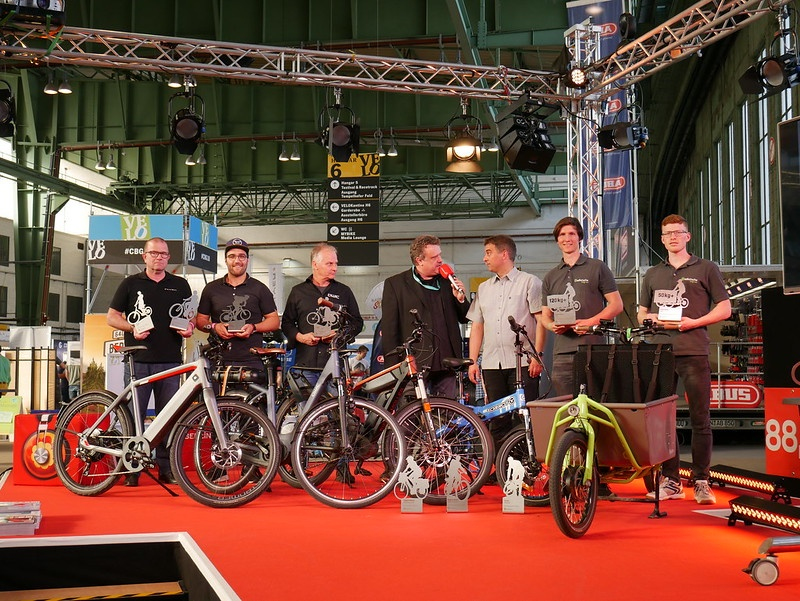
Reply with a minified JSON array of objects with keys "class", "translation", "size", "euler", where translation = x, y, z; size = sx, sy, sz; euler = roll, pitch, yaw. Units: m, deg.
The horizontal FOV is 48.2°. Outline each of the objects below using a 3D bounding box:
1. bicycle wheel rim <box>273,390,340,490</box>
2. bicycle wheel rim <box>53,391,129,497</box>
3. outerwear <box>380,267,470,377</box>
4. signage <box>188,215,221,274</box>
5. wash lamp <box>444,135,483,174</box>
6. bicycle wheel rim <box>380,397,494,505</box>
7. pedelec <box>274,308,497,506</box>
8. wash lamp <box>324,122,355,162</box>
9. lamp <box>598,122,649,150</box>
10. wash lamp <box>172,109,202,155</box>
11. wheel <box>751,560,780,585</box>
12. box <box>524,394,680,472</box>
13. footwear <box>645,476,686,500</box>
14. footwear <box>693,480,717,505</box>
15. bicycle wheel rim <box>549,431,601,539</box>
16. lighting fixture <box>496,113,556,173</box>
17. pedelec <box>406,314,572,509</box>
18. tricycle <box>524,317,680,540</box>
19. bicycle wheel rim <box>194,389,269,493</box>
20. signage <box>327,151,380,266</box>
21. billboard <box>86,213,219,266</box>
[{"class":"bicycle wheel rim","translation":[-0.814,1.135,7.499],"size":[0.668,0.803,0.240],"euler":[2,-13,-15]},{"class":"bicycle wheel rim","translation":[-2.596,1.222,7.565],"size":[0.753,0.726,0.272],"euler":[19,-4,13]},{"class":"outerwear","translation":[0.205,0.196,7.690],"size":[0.835,0.966,0.527],"euler":[7,-20,-22]},{"class":"signage","translation":[-3.187,-0.893,14.583],"size":[0.024,0.806,1.696],"euler":[-1,10,-28]},{"class":"wash lamp","translation":[0.989,-2.052,12.625],"size":[0.552,0.573,0.569],"euler":[1,-3,-21]},{"class":"bicycle wheel rim","translation":[0.359,1.200,7.199],"size":[0.766,0.849,0.429],"euler":[-1,2,10]},{"class":"pedelec","translation":[-0.236,0.947,7.442],"size":[2.055,1.454,1.050],"euler":[-5,-14,33]},{"class":"wash lamp","translation":[-0.783,-2.163,12.124],"size":[0.434,0.527,0.346],"euler":[-2,1,-11]},{"class":"lamp","translation":[2.667,-2.000,10.762],"size":[0.310,0.195,0.535],"euler":[-1,-1,-10]},{"class":"wash lamp","translation":[-2.806,-2.248,11.906],"size":[0.431,0.571,0.243],"euler":[7,15,-7]},{"class":"wheel","translation":[2.221,1.658,5.457],"size":[0.171,0.128,0.067],"euler":[-18,1,-4]},{"class":"box","translation":[1.649,0.953,6.778],"size":[0.864,0.385,0.927],"euler":[-4,-3,15]},{"class":"footwear","translation":[2.183,1.534,7.351],"size":[0.452,0.226,0.156],"euler":[7,-12,-25]},{"class":"footwear","translation":[2.424,1.524,7.131],"size":[0.160,0.169,0.161],"euler":[-1,1,18]},{"class":"bicycle wheel rim","translation":[1.219,1.287,6.285],"size":[0.187,0.576,0.584],"euler":[4,-17,27]},{"class":"lighting fixture","translation":[1.544,-1.940,10.983],"size":[0.576,0.630,0.461],"euler":[-2,2,-32]},{"class":"pedelec","translation":[0.667,0.981,7.285],"size":[1.048,1.349,2.075],"euler":[9,-5,-35]},{"class":"tricycle","translation":[1.599,0.935,6.843],"size":[0.899,1.352,1.913],"euler":[-3,-2,36]},{"class":"bicycle wheel rim","translation":[-1.331,1.189,7.257],"size":[0.779,0.842,0.510],"euler":[-2,1,5]},{"class":"signage","translation":[-0.932,-1.875,17.940],"size":[1.072,2.167,0.156],"euler":[1,-12,-6]},{"class":"billboard","translation":[-3.871,-1.003,13.658],"size":[1.249,0.576,1.353],"euler":[0,-3,4]}]
